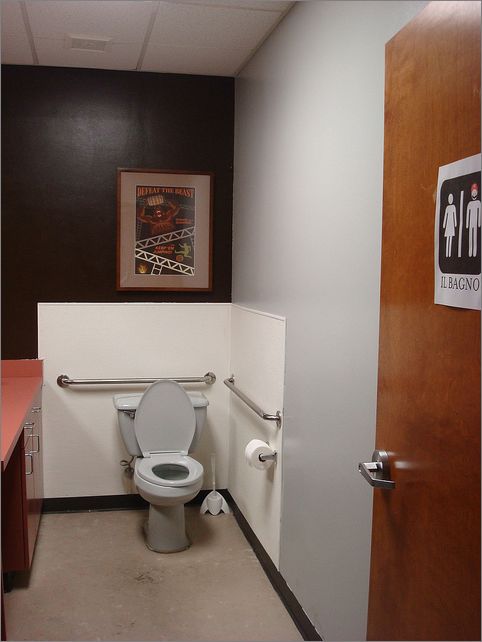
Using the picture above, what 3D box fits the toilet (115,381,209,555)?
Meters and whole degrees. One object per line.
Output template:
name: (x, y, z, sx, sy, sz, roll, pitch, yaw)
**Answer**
toilet: (-0.416, 0.845, 2.816, 0.375, 0.888, 0.558, -3, 12, -11)
